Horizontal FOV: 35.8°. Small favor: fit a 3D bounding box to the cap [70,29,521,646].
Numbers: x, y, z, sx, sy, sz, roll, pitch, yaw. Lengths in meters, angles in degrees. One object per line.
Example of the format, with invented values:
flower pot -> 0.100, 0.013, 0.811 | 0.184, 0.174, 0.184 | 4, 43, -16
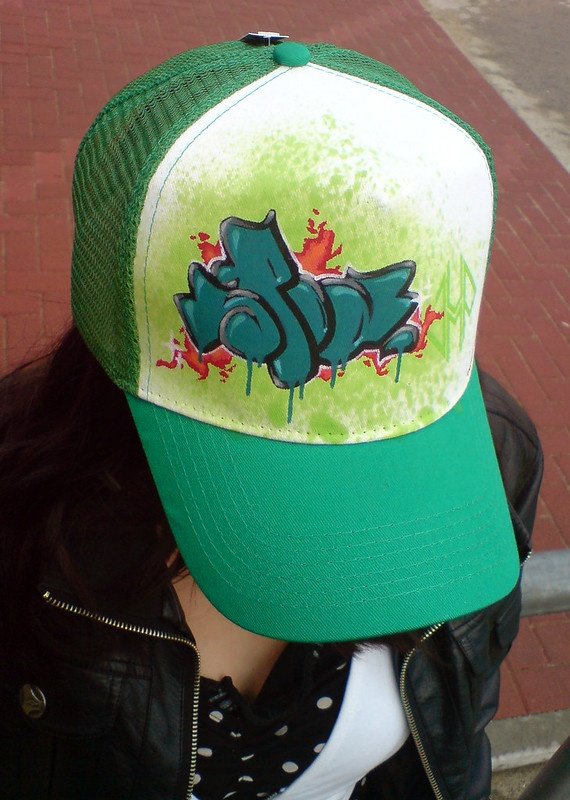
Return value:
cap -> 0.001, -0.105, 1.390 | 0.689, 0.510, 0.916 | -10, 59, -16
